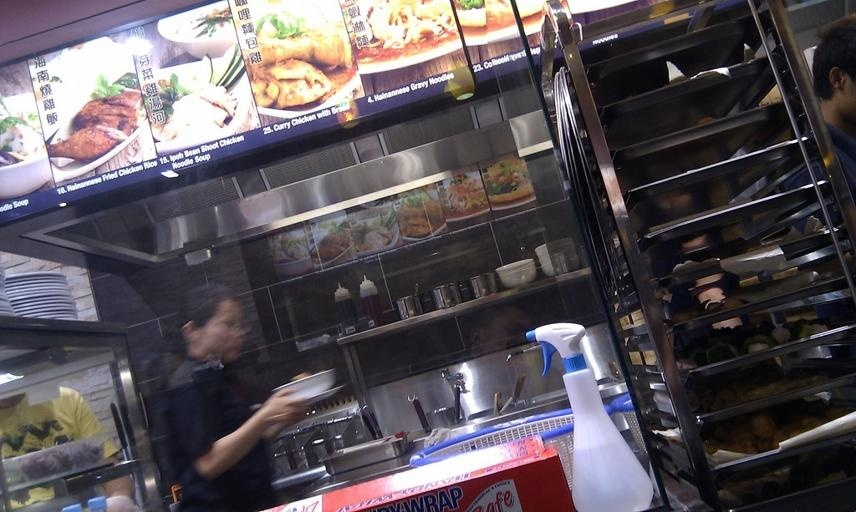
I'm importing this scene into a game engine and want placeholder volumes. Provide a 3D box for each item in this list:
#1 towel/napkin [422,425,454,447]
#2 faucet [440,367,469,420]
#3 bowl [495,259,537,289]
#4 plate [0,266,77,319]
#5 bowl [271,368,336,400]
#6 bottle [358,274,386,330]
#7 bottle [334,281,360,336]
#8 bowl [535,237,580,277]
[{"bbox_3d":[0.045,0.735,2.800,0.108,0.037,0.142,-16,3,31],"label":"towel/napkin"},{"bbox_3d":[0.130,0.602,2.960,0.091,0.236,0.271,-14,-11,-2],"label":"faucet"},{"bbox_3d":[0.335,0.064,2.571,0.113,0.074,0.121,-11,-3,-1],"label":"bowl"},{"bbox_3d":[-1.894,0.172,3.342,0.264,0.175,0.258,-1,-1,-40],"label":"plate"},{"bbox_3d":[-0.430,0.481,2.546,0.139,0.034,0.138,-19,-14,-5],"label":"bowl"},{"bbox_3d":[-0.215,0.164,2.568,0.074,0.199,0.090,-14,-11,-6],"label":"bottle"},{"bbox_3d":[-0.310,0.195,2.574,0.076,0.195,0.067,-13,-11,-8],"label":"bottle"},{"bbox_3d":[0.437,0.003,2.327,0.111,0.084,0.125,-12,-6,14],"label":"bowl"}]
